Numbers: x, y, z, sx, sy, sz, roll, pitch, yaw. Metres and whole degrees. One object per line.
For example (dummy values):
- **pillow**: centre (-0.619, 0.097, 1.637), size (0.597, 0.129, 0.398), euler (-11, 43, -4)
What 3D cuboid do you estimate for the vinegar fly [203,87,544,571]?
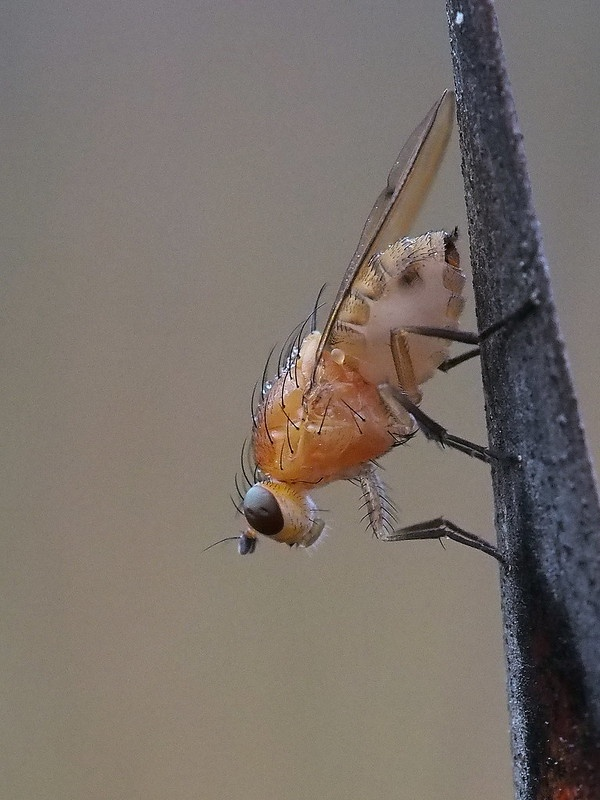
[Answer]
- **vinegar fly**: centre (0.058, -0.043, 0.880), size (0.115, 0.280, 0.366), euler (20, 88, 8)
